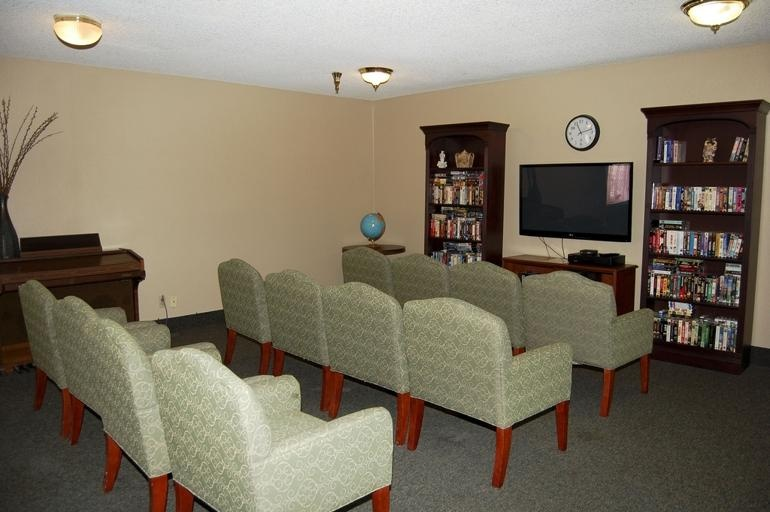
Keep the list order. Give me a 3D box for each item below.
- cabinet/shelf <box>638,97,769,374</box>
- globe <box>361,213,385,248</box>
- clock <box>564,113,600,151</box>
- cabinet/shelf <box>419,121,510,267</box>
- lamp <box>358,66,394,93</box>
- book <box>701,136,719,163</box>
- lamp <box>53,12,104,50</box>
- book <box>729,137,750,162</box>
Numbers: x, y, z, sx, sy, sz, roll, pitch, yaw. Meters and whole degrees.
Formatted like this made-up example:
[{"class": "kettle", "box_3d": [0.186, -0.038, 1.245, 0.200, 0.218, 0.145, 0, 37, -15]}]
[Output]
[{"class": "cabinet/shelf", "box_3d": [3.630, -0.261, 6.222, 1.323, 2.935, 0.825, 8, 17, 30]}, {"class": "globe", "box_3d": [-0.212, -0.404, 8.504, 0.482, 0.643, 0.431, 1, 11, -3]}, {"class": "clock", "box_3d": [2.615, -1.636, 7.116, 0.114, 0.598, 0.520, 0, 1, -45]}, {"class": "cabinet/shelf", "box_3d": [1.154, -0.924, 7.992, 1.313, 2.059, 0.699, 11, 18, 37]}, {"class": "lamp", "box_3d": [-0.099, -2.261, 6.861, 0.324, 0.203, 0.316, 0, 2, 8]}, {"class": "book", "box_3d": [3.698, -1.211, 6.148, 0.152, 0.271, 0.374, 8, 16, 29]}, {"class": "lamp", "box_3d": [-2.956, -2.181, 5.211, 0.405, 0.241, 0.220, -7, 16, -26]}, {"class": "book", "box_3d": [3.925, -1.178, 5.976, 0.164, 0.266, 0.425, 8, 16, 30]}]
